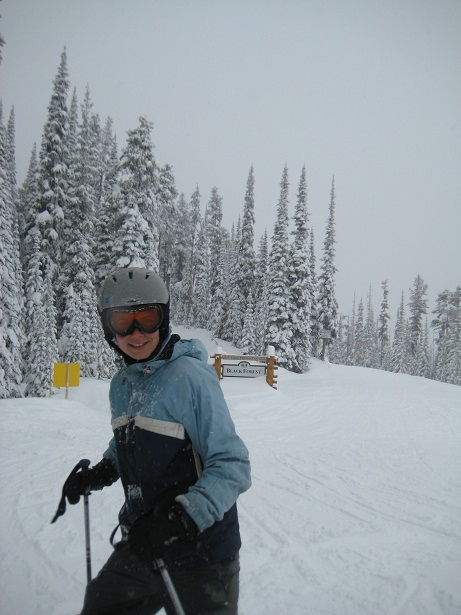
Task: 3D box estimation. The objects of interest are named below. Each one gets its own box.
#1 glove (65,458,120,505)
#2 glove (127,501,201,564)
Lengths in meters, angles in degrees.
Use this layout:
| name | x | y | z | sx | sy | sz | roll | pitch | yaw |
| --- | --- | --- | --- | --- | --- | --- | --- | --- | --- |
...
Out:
| name | x | y | z | sx | sy | sz | roll | pitch | yaw |
| --- | --- | --- | --- | --- | --- | --- | --- | --- | --- |
| glove | -1.125 | 1.391 | 4.630 | 0.435 | 0.308 | 0.182 | -33 | -2 | 19 |
| glove | -0.419 | 1.460 | 3.743 | 0.432 | 0.417 | 0.213 | -13 | -13 | -5 |
